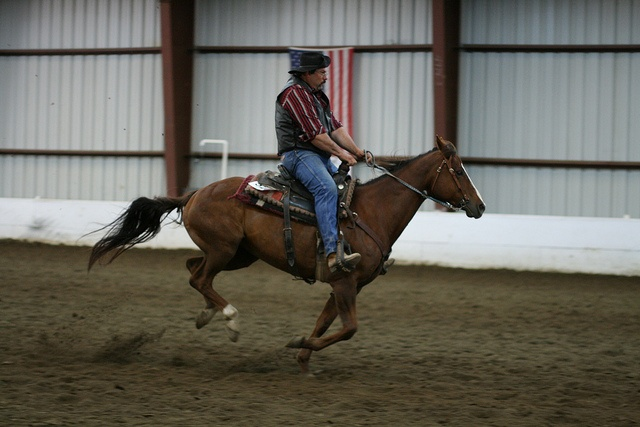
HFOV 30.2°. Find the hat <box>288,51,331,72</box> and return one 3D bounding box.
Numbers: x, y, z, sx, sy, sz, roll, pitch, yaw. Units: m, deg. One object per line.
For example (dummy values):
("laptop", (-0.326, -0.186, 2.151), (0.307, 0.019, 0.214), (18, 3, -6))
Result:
("hat", (-0.121, -2.350, 18.238), (0.486, 0.184, 0.390), (-12, 21, -4))

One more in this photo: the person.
("person", (0.038, -0.823, 18.280), (1.411, 3.304, 0.731), (7, 8, 34))
